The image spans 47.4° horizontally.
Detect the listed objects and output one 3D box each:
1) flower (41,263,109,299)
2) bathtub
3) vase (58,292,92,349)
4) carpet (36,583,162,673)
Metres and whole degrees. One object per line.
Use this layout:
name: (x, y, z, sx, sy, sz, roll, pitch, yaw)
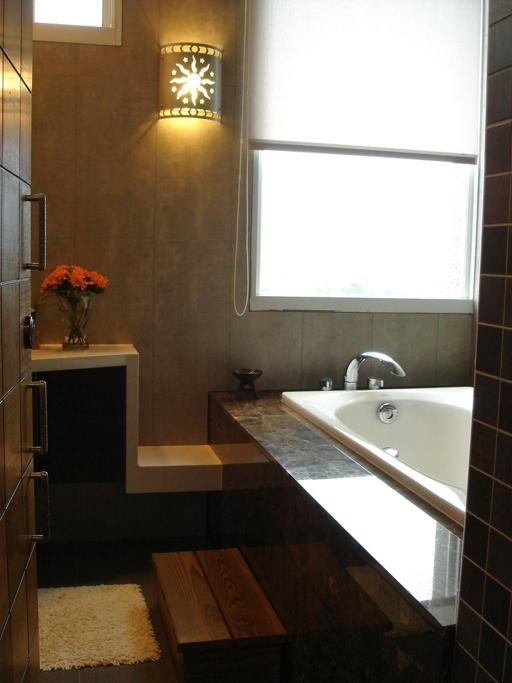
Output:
flower: (-0.710, -0.221, 2.254, 0.141, 0.128, 0.156, -1, 3, -34)
bathtub: (0.556, 0.505, 2.288, 0.388, 0.305, 0.654, 1, 5, -23)
vase: (-0.707, -0.076, 2.279, 0.118, 0.220, 0.110, -4, 5, -23)
carpet: (-0.544, 0.945, 1.970, 0.363, 0.064, 0.567, -6, 6, -23)
